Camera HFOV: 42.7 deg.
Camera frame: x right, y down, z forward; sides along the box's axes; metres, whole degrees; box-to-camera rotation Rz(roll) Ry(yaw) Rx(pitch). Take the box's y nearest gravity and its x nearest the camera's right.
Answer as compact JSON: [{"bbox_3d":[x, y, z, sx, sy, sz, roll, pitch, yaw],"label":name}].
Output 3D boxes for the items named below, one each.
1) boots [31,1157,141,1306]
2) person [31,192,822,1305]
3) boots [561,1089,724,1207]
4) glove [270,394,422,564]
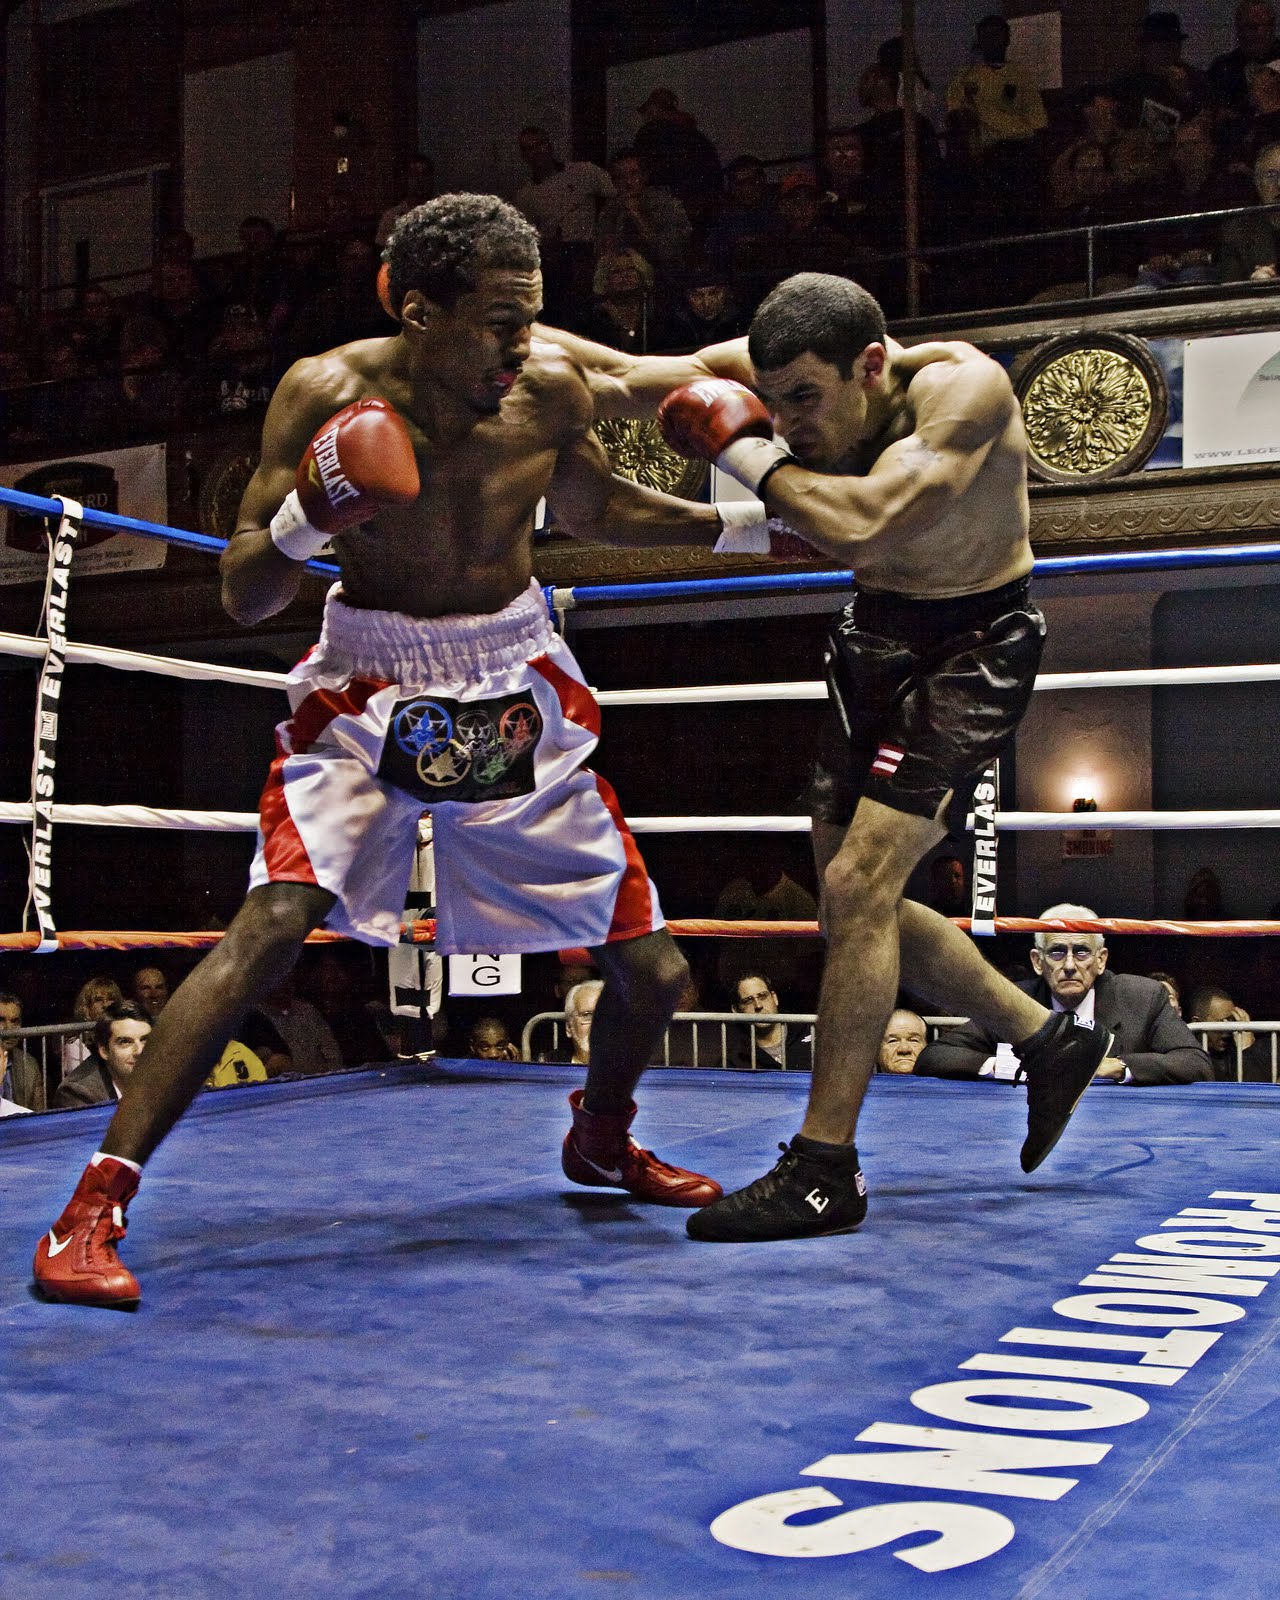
[{"bbox_3d":[-0.495,0.391,1.484,0.078,0.115,0.194,15,-6,-30],"label":"boots"},{"bbox_3d":[-0.251,-0.073,1.777,0.456,1.079,0.835,-4,-4,33],"label":"person"},{"bbox_3d":[0.025,0.418,1.907,0.253,0.119,0.082,1,-4,16],"label":"boots"},{"bbox_3d":[-0.290,-0.320,1.598,0.079,0.094,0.198,8,-23,-42],"label":"glove"}]
